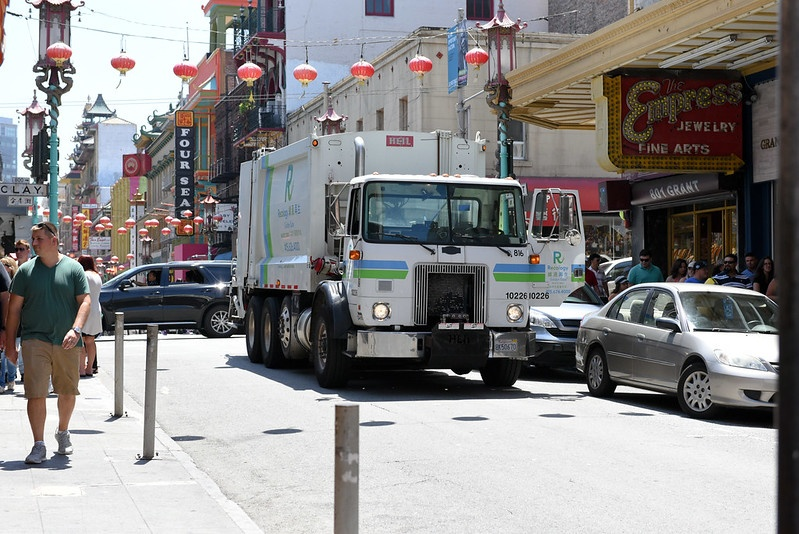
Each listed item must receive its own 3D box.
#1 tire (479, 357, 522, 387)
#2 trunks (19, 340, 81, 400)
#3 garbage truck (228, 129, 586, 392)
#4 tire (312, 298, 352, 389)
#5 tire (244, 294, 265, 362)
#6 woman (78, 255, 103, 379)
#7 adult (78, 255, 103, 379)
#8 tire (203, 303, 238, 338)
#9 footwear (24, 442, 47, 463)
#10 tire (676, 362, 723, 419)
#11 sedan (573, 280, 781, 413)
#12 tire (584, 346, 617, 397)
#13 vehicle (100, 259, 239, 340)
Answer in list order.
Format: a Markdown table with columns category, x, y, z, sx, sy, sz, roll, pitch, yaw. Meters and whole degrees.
| category | x | y | z | sx | sy | sz | roll | pitch | yaw |
| --- | --- | --- | --- | --- | --- | --- | --- | --- | --- |
| tire | 1.692 | 1.779 | 16.999 | 0.228 | 0.605 | 0.565 | 5 | 1 | -21 |
| trunks | -3.906 | 1.145 | 11.251 | 0.622 | 0.668 | 0.318 | 0 | 2 | -22 |
| garbage truck | -0.719 | -0.167 | 19.511 | 3.730 | 4.435 | 8.575 | 1 | 0 | -25 |
| tire | -1.086 | 1.237 | 16.367 | 0.500 | 1.696 | 1.430 | 1 | 1 | -19 |
| tire | -3.014 | 1.276 | 20.928 | 0.416 | 1.423 | 1.333 | 2 | -1 | -16 |
| woman | -5.447 | 0.840 | 17.442 | 0.580 | 2.113 | 0.554 | 1 | 3 | -28 |
| adult | -5.434 | 0.869 | 17.353 | 0.591 | 2.093 | 0.566 | 4 | -8 | -34 |
| tire | -4.808 | 1.401 | 26.821 | 0.961 | 1.068 | 0.350 | -1 | 5 | -25 |
| footwear | -3.979 | 2.063 | 10.993 | 0.118 | 0.154 | 0.331 | 2 | -5 | -4 |
| tire | 4.252 | 1.759 | 14.155 | 0.219 | 0.730 | 0.675 | 2 | -10 | -37 |
| sedan | 4.327 | 1.161 | 15.211 | 1.772 | 1.496 | 3.360 | 3 | -6 | -24 |
| tire | 3.106 | 1.690 | 16.316 | 0.203 | 0.715 | 0.667 | 5 | 5 | 37 |
| vehicle | -6.241 | 0.956 | 27.826 | 4.005 | 1.618 | 1.964 | 2 | -5 | -4 |
